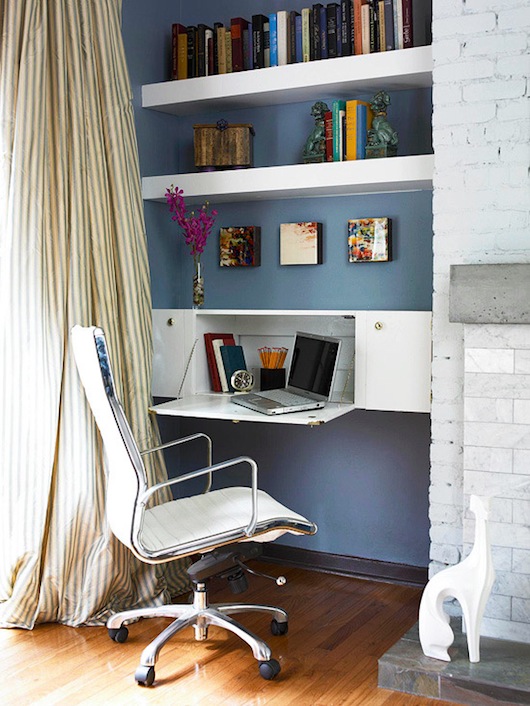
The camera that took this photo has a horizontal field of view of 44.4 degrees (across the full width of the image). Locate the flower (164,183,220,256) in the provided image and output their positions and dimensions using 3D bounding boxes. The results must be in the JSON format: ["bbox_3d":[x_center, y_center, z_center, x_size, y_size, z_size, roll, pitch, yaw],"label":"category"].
[{"bbox_3d":[-0.320,-0.615,2.959,0.200,0.310,0.350,-1,19,-10],"label":"flower"}]

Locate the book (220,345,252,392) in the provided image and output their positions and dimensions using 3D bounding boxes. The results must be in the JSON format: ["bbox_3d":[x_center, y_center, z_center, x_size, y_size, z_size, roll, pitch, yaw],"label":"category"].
[{"bbox_3d":[-0.139,0.073,2.861,0.178,0.181,0.041,1,-14,-40],"label":"book"}]

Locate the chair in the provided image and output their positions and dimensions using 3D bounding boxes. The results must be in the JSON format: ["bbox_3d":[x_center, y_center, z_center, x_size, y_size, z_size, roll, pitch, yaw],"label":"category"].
[{"bbox_3d":[-0.226,0.474,2.185,0.672,1.053,0.607,-2,1,-20],"label":"chair"}]

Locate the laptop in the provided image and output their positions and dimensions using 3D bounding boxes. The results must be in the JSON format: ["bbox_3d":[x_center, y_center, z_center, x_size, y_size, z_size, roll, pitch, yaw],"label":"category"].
[{"bbox_3d":[0.095,0.092,2.509,0.311,0.277,0.338,-3,6,-26],"label":"laptop"}]
